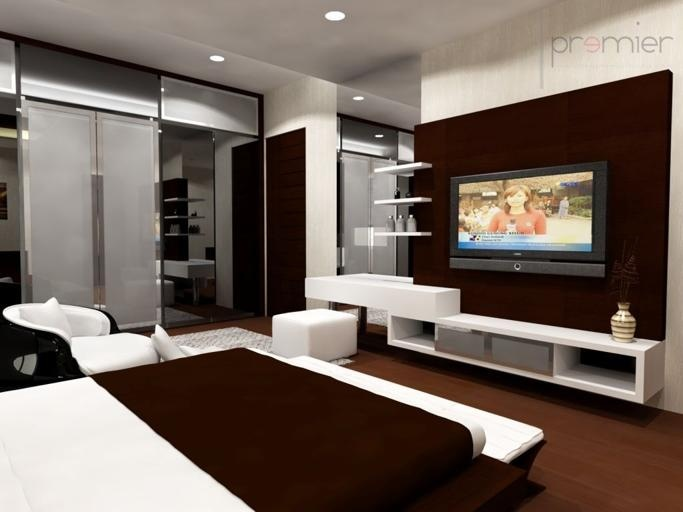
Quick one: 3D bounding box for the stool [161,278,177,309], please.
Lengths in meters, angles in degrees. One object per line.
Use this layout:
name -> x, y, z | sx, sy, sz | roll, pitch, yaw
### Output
stool -> -2.222, 0.473, 6.245 | 0.259, 0.277, 0.259 | -1, 2, -35

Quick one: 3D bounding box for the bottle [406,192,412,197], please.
bottle -> 0.716, -0.645, 5.221 | 0.040, 0.080, 0.077 | -7, 10, -44

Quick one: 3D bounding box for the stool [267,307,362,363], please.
stool -> -0.179, 0.897, 5.234 | 0.719, 0.380, 0.764 | -11, -11, 13

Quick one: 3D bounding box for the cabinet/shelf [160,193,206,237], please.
cabinet/shelf -> -2.104, -0.520, 6.542 | 0.288, 0.490, 0.536 | 2, 7, 29

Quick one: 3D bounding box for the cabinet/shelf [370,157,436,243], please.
cabinet/shelf -> 0.618, -0.655, 5.503 | 0.211, 0.678, 0.690 | 17, 19, 23
